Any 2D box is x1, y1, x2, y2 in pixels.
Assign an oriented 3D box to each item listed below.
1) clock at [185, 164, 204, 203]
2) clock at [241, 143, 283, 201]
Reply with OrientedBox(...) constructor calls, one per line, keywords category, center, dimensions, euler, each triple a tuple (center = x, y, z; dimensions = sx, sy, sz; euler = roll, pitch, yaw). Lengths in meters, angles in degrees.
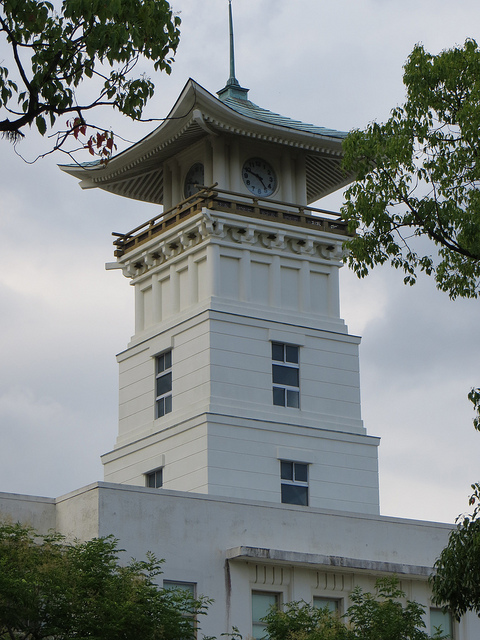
OrientedBox(category="clock", center=(-1.124, -3.226, 49.267), dimensions=(0.029, 0.874, 0.787), euler=(6, -21, -20))
OrientedBox(category="clock", center=(0.469, -3.521, 49.595), dimensions=(1.039, 1.400, 0.102), euler=(19, -28, -41))
